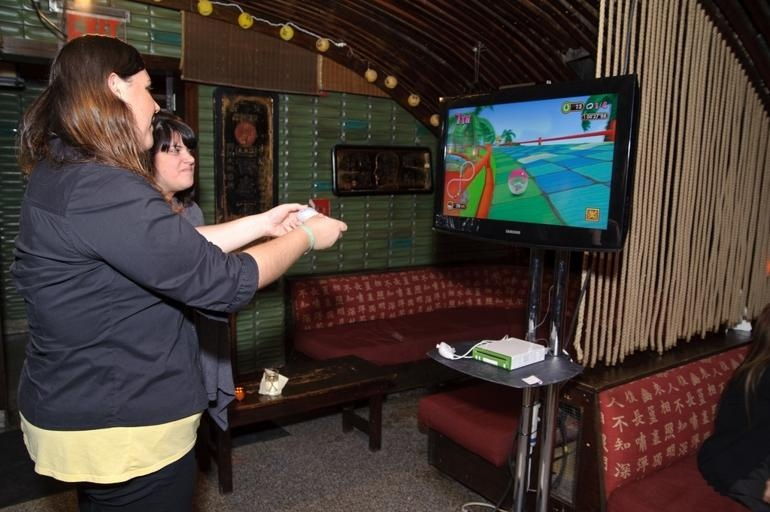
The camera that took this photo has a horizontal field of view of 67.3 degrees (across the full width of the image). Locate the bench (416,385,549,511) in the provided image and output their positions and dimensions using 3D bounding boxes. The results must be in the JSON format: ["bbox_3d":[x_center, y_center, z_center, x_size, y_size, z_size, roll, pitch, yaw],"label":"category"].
[{"bbox_3d":[0.799,1.211,4.105,0.882,0.547,0.861,7,1,-33],"label":"bench"}]
